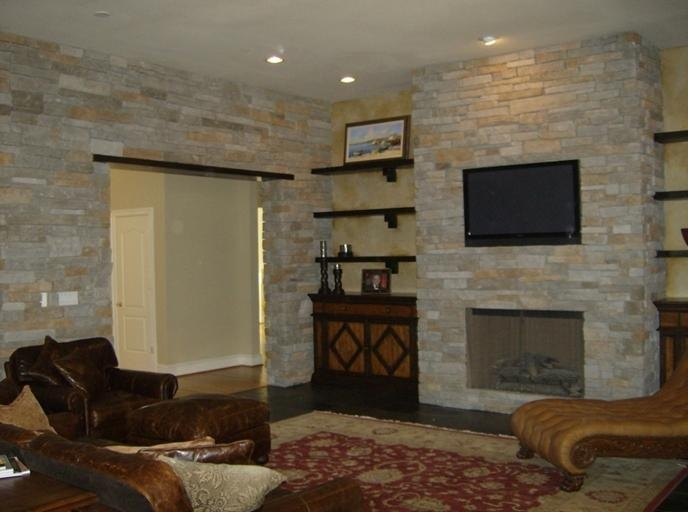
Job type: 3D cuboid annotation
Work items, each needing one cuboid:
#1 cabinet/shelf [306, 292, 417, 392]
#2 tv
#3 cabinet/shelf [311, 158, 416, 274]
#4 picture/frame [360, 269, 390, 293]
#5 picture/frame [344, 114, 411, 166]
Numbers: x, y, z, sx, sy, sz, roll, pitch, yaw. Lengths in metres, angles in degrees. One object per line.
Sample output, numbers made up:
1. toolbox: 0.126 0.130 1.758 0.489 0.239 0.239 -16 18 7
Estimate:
1. cabinet/shelf: 0.284 1.120 7.131 1.605 0.950 0.529 0 -3 25
2. tv: 1.900 -0.551 5.777 1.222 0.670 0.080 0 1 30
3. cabinet/shelf: 0.292 -0.553 7.478 2.037 1.354 0.572 1 4 29
4. picture/frame: 0.431 0.337 7.356 0.413 0.248 0.053 0 -8 29
5. picture/frame: 0.468 -1.508 7.213 1.016 0.465 0.066 -1 -17 28
